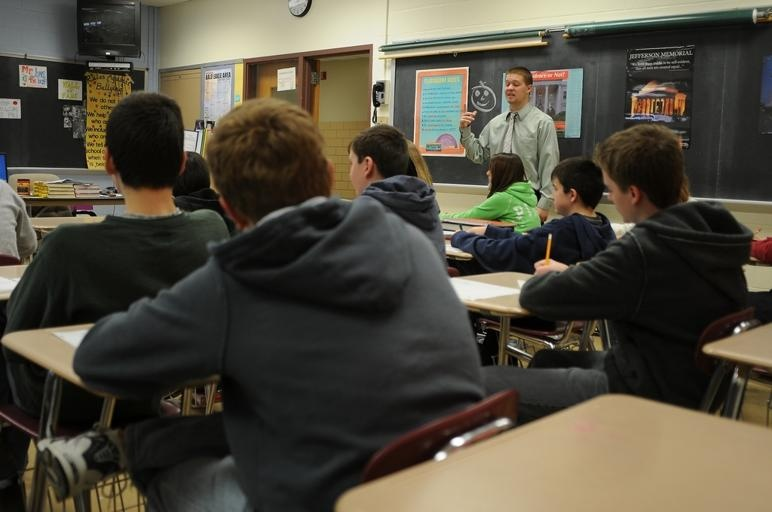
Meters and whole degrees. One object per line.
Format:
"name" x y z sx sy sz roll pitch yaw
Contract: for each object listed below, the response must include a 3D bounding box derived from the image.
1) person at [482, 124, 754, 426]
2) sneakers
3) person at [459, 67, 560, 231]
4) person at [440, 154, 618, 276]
"person" 0.831 0.051 1.918 0.827 1.005 0.422 0 13 4
"sneakers" -0.694 0.477 1.274 0.197 0.126 0.077 -29 8 -41
"person" 1.198 -0.655 5.265 0.957 2.211 0.489 -2 -6 27
"person" 0.893 -0.258 3.100 0.806 0.906 0.588 9 12 32
